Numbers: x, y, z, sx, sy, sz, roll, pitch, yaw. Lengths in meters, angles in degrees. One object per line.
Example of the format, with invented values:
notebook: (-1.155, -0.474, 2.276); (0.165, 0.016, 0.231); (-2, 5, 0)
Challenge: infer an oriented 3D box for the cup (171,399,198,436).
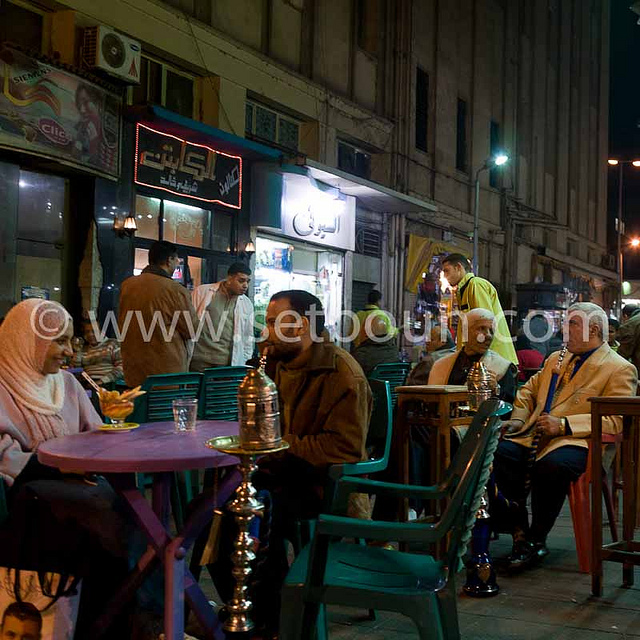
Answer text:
cup: (-0.637, 0.459, 3.161); (0.122, 0.154, 0.133); (2, 4, 0)

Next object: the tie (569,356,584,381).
tie: (1.780, 0.340, 4.643); (0.091, 0.141, 0.054); (1, -20, 30)

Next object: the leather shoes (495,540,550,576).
leather shoes: (1.291, 1.504, 4.257); (0.371, 0.168, 0.127); (3, -8, -41)

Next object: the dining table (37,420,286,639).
dining table: (-0.729, 0.768, 2.732); (0.876, 0.767, 0.971); (-6, -3, 30)
